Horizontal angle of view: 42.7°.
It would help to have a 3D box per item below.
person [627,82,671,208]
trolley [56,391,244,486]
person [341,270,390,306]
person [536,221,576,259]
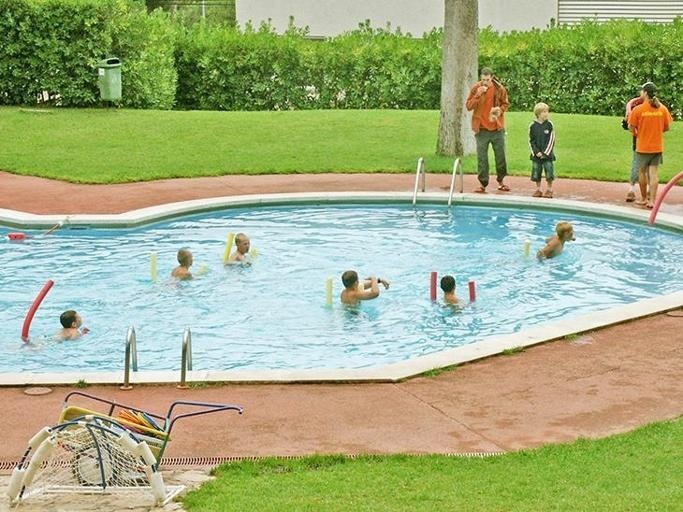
[{"bbox_3d":[6.607,-2.364,18.906,0.577,2.653,0.743,-6,12,-34],"label":"person"},{"bbox_3d":[-2.050,1.839,8.365,0.898,0.672,1.521,5,8,-40],"label":"trolley"},{"bbox_3d":[0.361,0.476,14.174,0.778,0.581,0.714,1,10,0],"label":"person"},{"bbox_3d":[4.046,-0.307,16.464,0.727,0.678,0.256,-2,10,-16],"label":"person"}]
